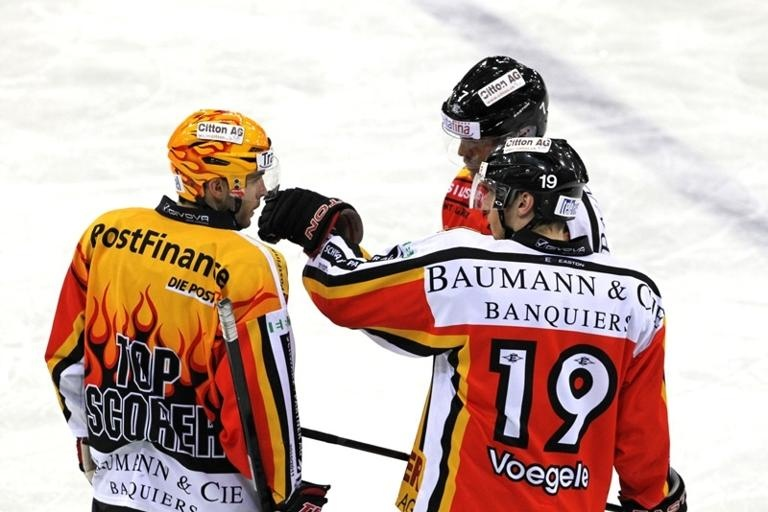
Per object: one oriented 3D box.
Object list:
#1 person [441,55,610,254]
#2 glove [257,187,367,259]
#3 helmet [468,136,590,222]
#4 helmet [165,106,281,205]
[{"bbox_3d":[0.883,-0.606,10.928,0.951,0.854,1.142,37,-4,36],"label":"person"},{"bbox_3d":[-0.450,-0.245,9.940,0.614,0.256,0.433,23,33,24],"label":"glove"},{"bbox_3d":[0.994,-0.490,9.884,0.699,0.391,0.493,6,6,20],"label":"helmet"},{"bbox_3d":[-1.028,-0.592,10.060,0.749,0.439,0.484,3,0,-5],"label":"helmet"}]
